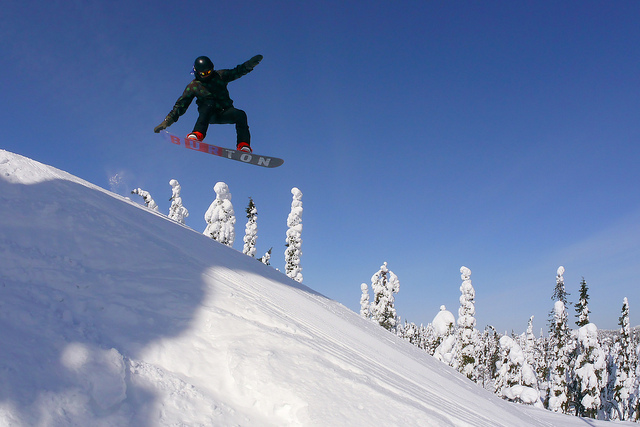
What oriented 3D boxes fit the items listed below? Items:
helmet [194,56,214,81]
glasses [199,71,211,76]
[{"bbox_3d":[-2.985,-3.661,15.187,0.445,0.553,0.528,6,-24,6],"label":"helmet"},{"bbox_3d":[-2.891,-3.562,15.212,0.281,0.076,0.099,-6,-65,-9],"label":"glasses"}]
